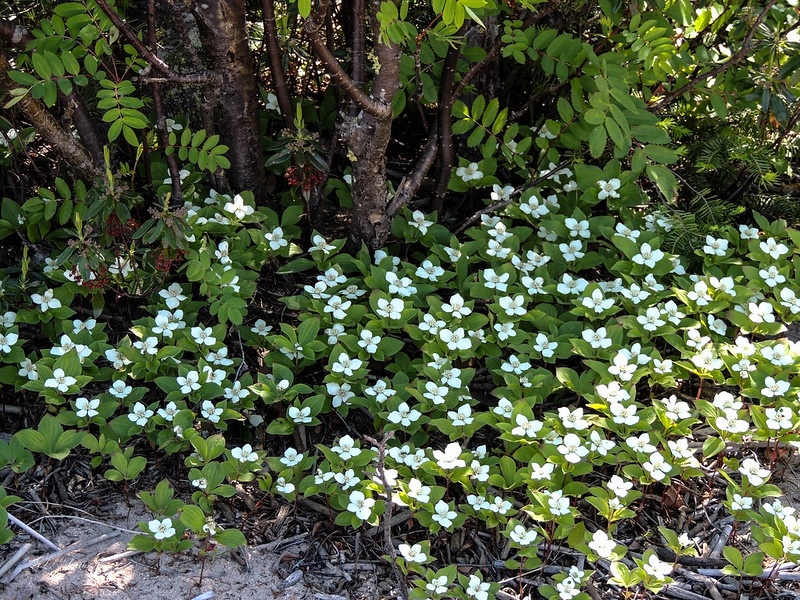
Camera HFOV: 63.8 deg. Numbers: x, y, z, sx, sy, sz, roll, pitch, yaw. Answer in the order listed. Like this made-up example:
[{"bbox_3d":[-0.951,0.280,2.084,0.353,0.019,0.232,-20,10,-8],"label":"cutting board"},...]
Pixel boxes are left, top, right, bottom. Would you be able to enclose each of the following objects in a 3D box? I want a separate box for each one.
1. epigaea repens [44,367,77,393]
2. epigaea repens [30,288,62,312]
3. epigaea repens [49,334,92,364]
[{"bbox_3d":[-1.458,0.359,2.770,0.110,0.089,0.084,20,39,11],"label":"epigaea repens"},{"bbox_3d":[-1.694,0.003,3.081,0.121,0.098,0.094,-11,43,-26],"label":"epigaea repens"},{"bbox_3d":[-1.485,0.224,2.915,0.144,0.053,0.140,-7,52,-15],"label":"epigaea repens"}]
